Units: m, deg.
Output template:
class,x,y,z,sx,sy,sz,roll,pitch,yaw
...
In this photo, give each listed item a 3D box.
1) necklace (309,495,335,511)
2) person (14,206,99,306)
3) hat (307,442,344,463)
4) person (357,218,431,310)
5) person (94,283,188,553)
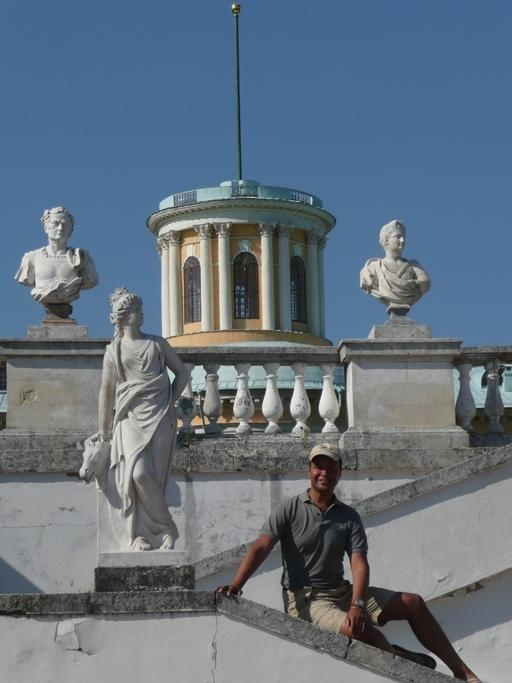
class,x,y,z,sx,sy,sz,roll,pitch,yaw
necklace,0.423,0.980,10.717,0.090,0.102,0.129,3,-19,-2
person,-1.812,-0.707,15.706,0.670,1.013,0.441,0,-20,-2
hat,0.467,0.746,11.594,0.262,0.168,0.422,3,-8,8
person,1.272,-0.659,15.769,0.372,0.850,0.580,-4,3,-42
person,-0.871,0.592,13.140,0.664,1.881,0.812,-2,2,-6
